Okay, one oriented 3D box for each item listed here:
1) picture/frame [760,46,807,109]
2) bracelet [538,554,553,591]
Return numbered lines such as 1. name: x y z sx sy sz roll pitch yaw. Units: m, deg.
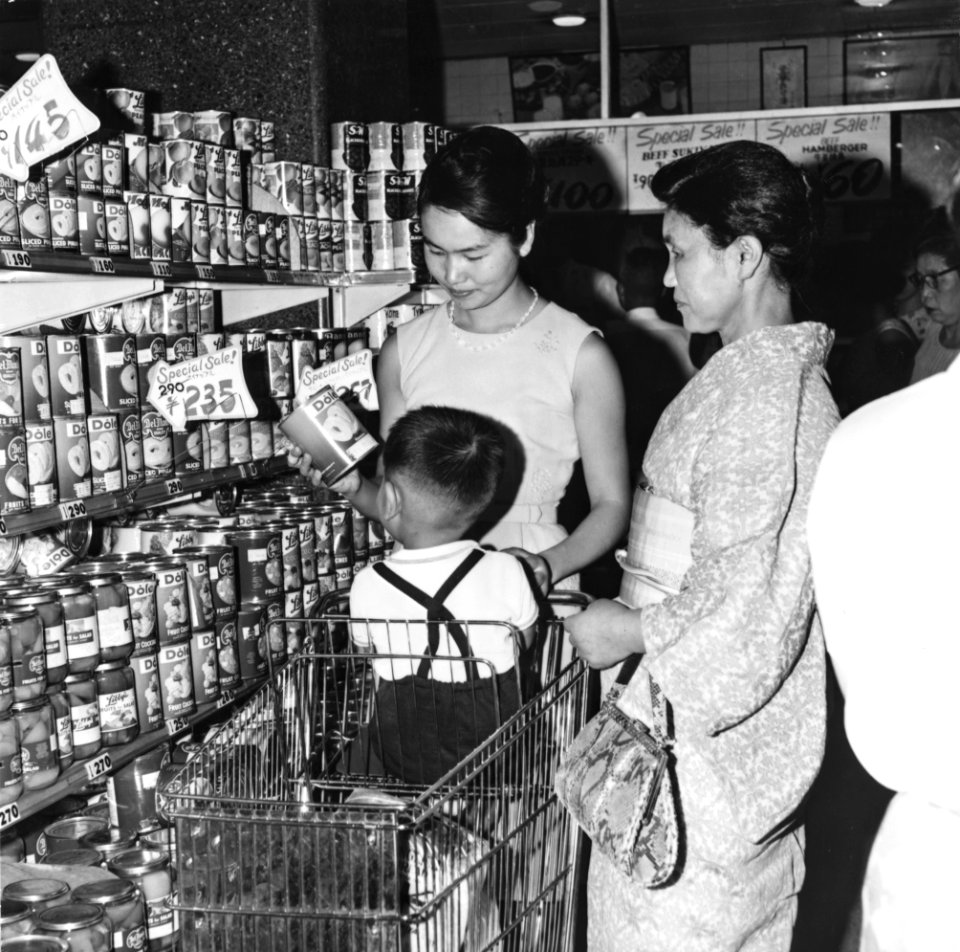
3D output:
1. picture/frame: 1.336 -1.741 4.786 0.211 0.253 0.048 4 11 17
2. bracelet: 0.113 0.168 1.939 0.024 0.051 0.035 1 6 -4
